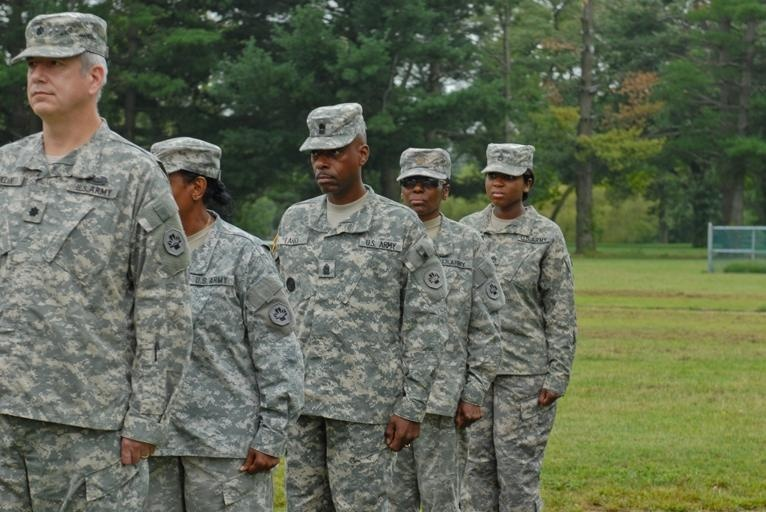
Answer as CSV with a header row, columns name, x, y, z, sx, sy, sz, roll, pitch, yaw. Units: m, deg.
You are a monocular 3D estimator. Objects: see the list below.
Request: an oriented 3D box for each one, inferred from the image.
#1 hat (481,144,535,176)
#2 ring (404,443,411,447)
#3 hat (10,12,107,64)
name,x,y,z,sx,sy,sz,roll,pitch,yaw
hat,1.425,-1.067,18.178,0.402,0.222,0.480,0,0,29
ring,0.266,1.958,17.024,0.072,0.032,0.101,0,3,9
hat,-2.988,-2.063,15.409,0.741,0.322,0.564,1,-7,-43
